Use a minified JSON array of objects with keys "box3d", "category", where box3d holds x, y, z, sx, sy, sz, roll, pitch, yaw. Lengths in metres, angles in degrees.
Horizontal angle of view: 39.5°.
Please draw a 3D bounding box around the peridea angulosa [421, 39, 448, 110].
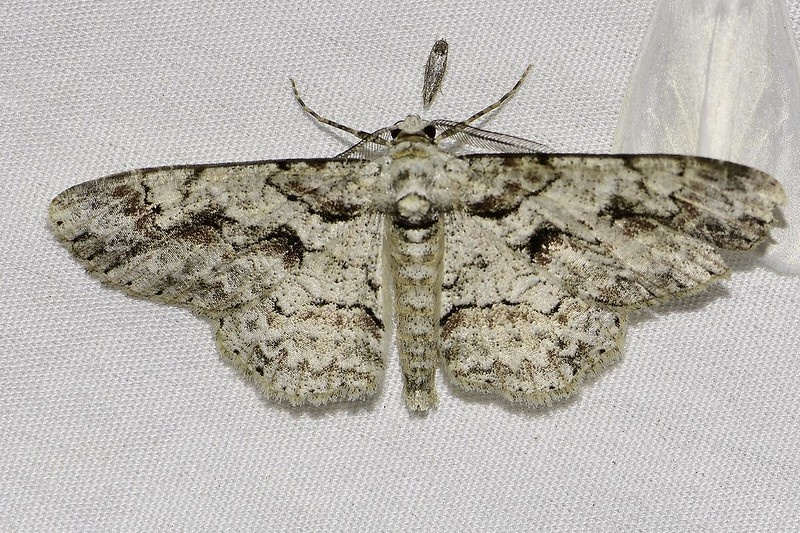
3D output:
[{"box3d":[0.193,-1.078,6.236,0.138,0.119,0.378,10,-88,5],"category":"peridea angulosa"}]
